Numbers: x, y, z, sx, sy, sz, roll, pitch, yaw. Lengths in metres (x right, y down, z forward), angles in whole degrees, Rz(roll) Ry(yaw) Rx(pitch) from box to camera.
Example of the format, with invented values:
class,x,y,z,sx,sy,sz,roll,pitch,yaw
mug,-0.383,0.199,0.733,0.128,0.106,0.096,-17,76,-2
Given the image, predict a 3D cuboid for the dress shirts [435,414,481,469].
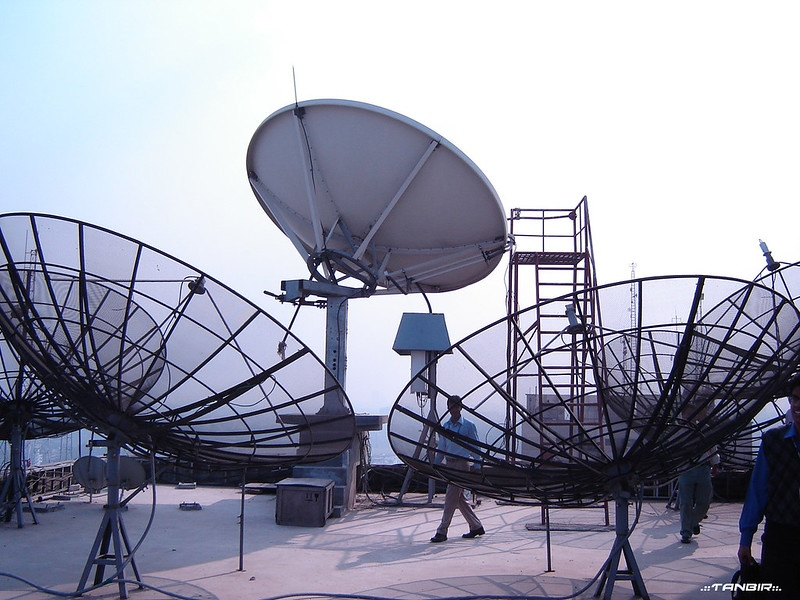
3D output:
class,x,y,z,sx,sy,sz,roll,pitch,yaw
dress shirts,1.057,2.503,14.890,0.910,0.945,0.389,-8,-7,35
